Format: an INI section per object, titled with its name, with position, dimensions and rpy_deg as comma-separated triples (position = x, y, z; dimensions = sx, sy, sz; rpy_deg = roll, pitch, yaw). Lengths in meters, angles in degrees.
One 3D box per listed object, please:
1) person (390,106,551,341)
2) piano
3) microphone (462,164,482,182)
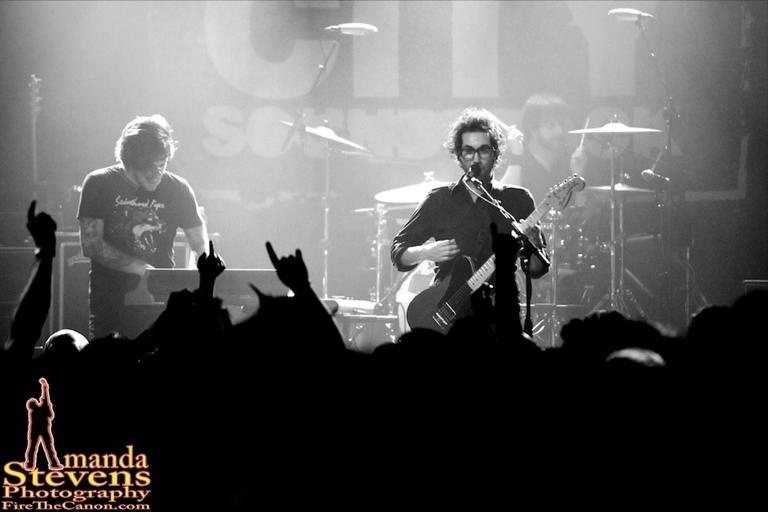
[person]
position = 0.570, -0.133, 5.276
dimensions = 1.158, 1.541, 1.721
rpy_deg = 2, 5, 3
[piano]
position = -1.352, 0.317, 5.597
dimensions = 1.016, 0.475, 0.745
rpy_deg = 2, -22, -22
[microphone]
position = 0.564, -0.537, 5.165
dimensions = 0.066, 0.057, 0.143
rpy_deg = 34, 52, 16
